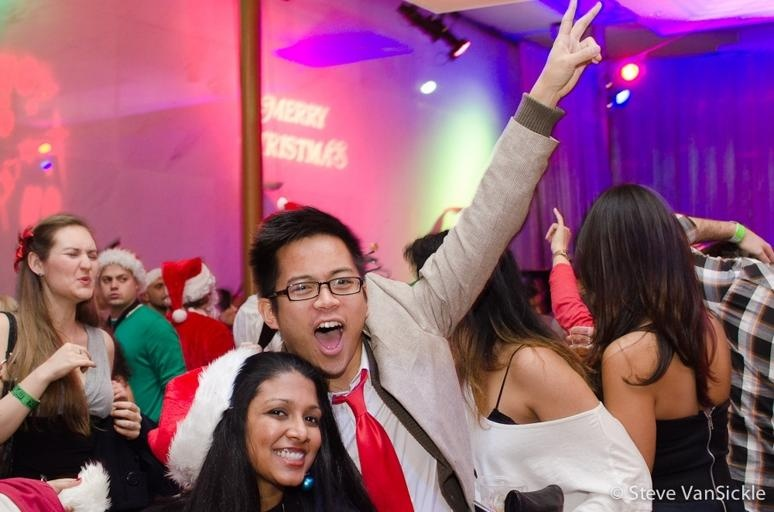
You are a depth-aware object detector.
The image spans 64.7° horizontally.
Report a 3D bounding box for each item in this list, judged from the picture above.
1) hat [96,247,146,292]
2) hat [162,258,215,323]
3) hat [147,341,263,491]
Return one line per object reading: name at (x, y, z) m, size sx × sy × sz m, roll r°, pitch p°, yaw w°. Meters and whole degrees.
hat at (-1.821, 0.095, 4.237) m, size 0.258 × 0.132 × 0.324 m, roll 19°, pitch -18°, yaw 6°
hat at (-1.416, 0.206, 4.377) m, size 0.365 × 0.358 × 0.222 m, roll 8°, pitch -20°, yaw -25°
hat at (-0.737, 0.622, 2.404) m, size 0.444 × 0.540 × 0.190 m, roll -7°, pitch -18°, yaw 17°
